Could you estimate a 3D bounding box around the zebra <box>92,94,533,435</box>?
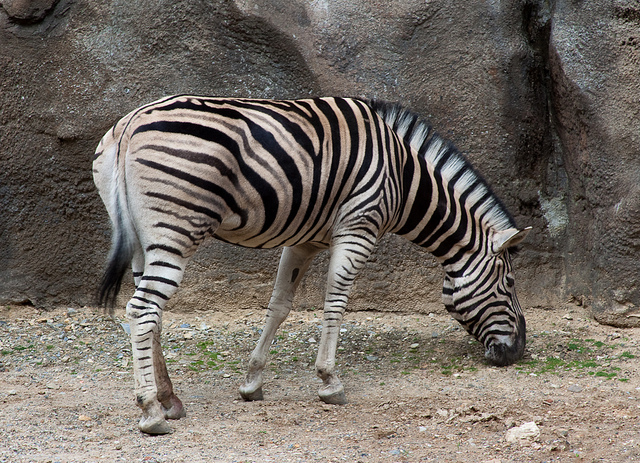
[{"bbox_3d":[0.041,0.198,8.359,4.224,2.564,1.122,1,-1,-32],"label":"zebra"}]
